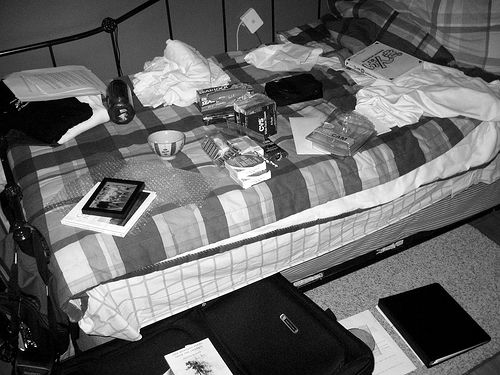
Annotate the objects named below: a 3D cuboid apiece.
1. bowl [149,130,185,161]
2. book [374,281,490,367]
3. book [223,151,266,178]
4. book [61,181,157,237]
[{"bbox_3d":[-0.317,-0.141,1.413,0.123,0.077,0.124,-2,35,1],"label":"bowl"},{"bbox_3d":[0.698,0.514,1.405,0.276,0.053,0.270,-14,40,-13],"label":"book"},{"bbox_3d":[-0.020,-0.087,1.267,0.123,0.051,0.131,-15,45,-11],"label":"book"},{"bbox_3d":[-0.433,0.063,1.162,0.227,0.048,0.182,9,45,13],"label":"book"}]
